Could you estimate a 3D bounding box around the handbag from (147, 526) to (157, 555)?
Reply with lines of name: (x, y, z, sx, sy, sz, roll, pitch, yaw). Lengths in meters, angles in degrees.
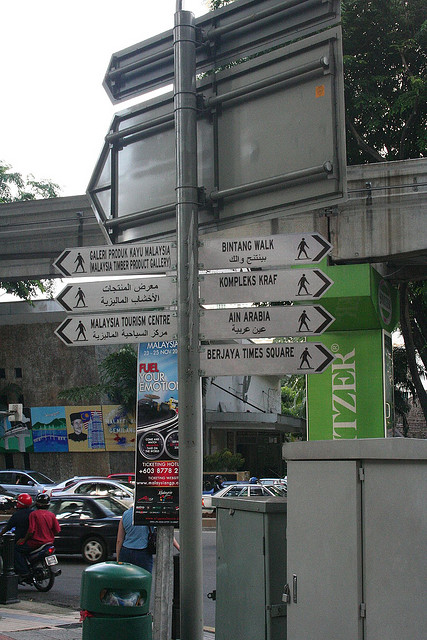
handbag: (-0.600, 2.174, 9.569, 0.081, 0.262, 0.366, 0, -7, -6)

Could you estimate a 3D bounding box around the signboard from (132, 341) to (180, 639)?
signboard: (-0.471, 1.358, 8.062, 0.359, 2.403, 0.690, 0, -6, -4)

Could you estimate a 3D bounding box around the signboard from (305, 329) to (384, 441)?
signboard: (1.719, 0.835, 12.864, 1.178, 1.432, 0.292, -6, -8, 39)

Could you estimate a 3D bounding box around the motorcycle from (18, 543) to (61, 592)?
motorcycle: (-2.367, 3.407, 13.422, 0.486, 0.711, 0.637, -1, -7, 5)
